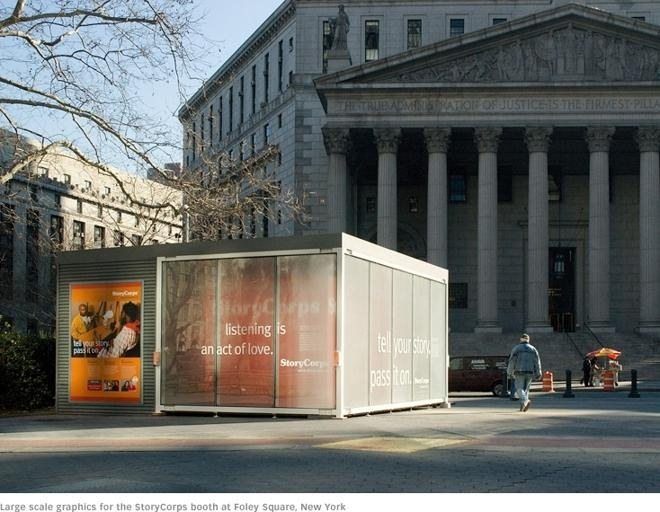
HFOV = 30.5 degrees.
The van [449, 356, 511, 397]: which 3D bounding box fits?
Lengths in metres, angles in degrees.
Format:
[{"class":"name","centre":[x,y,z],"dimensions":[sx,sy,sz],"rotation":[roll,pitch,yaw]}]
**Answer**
[{"class":"van","centre":[7.012,5.485,55.386],"dimensions":[3.534,1.832,2.080],"rotation":[-4,-9,35]}]

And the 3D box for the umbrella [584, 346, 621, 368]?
[{"class":"umbrella","centre":[13.282,4.720,58.020],"dimensions":[1.594,0.649,1.625],"rotation":[3,-8,-24]}]
